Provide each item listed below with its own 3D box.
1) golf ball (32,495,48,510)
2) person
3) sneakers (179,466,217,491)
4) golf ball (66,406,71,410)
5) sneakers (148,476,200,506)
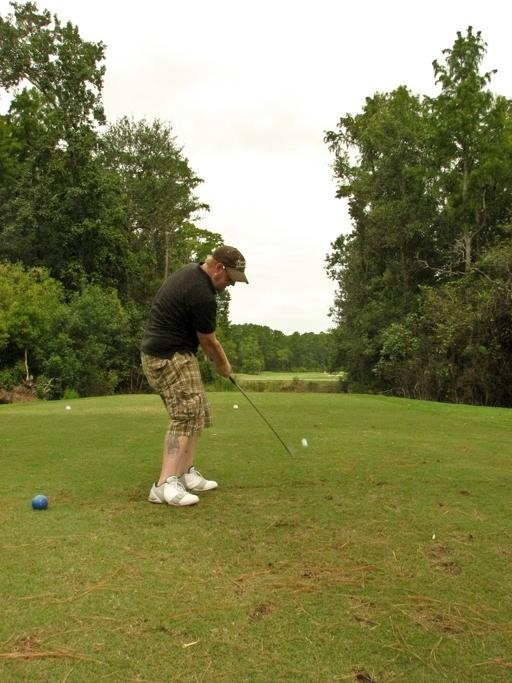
[{"bbox_3d":[-1.222,0.901,3.848,0.084,0.075,0.117,-2,5,-18],"label":"golf ball"},{"bbox_3d":[-0.387,0.178,4.322,0.671,1.570,0.727,-1,5,-9],"label":"person"},{"bbox_3d":[-0.378,0.903,4.454,0.301,0.120,0.099,2,-3,6],"label":"sneakers"},{"bbox_3d":[-2.806,0.988,10.172,0.039,0.025,0.036,21,3,-1],"label":"golf ball"},{"bbox_3d":[-0.504,0.905,4.113,0.354,0.146,0.127,2,-6,7],"label":"sneakers"}]
